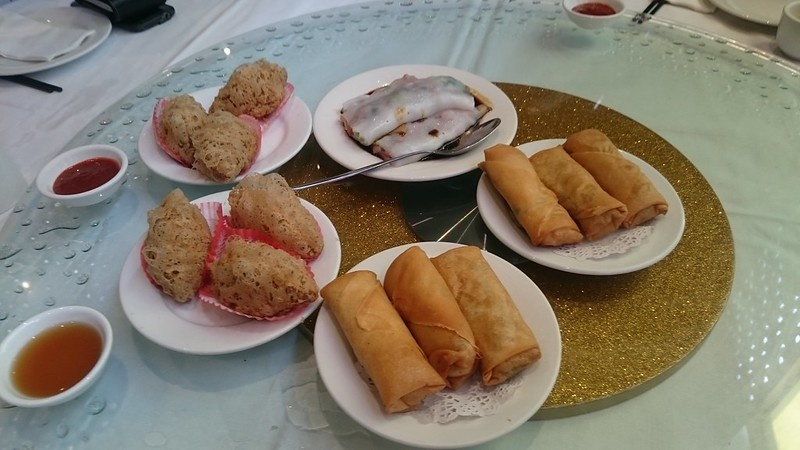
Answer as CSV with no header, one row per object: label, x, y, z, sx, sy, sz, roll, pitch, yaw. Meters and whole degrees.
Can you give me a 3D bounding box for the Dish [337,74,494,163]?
Dish,0.054,-0.566,2.834,0.553,0.172,0.487,-25,54,-21
